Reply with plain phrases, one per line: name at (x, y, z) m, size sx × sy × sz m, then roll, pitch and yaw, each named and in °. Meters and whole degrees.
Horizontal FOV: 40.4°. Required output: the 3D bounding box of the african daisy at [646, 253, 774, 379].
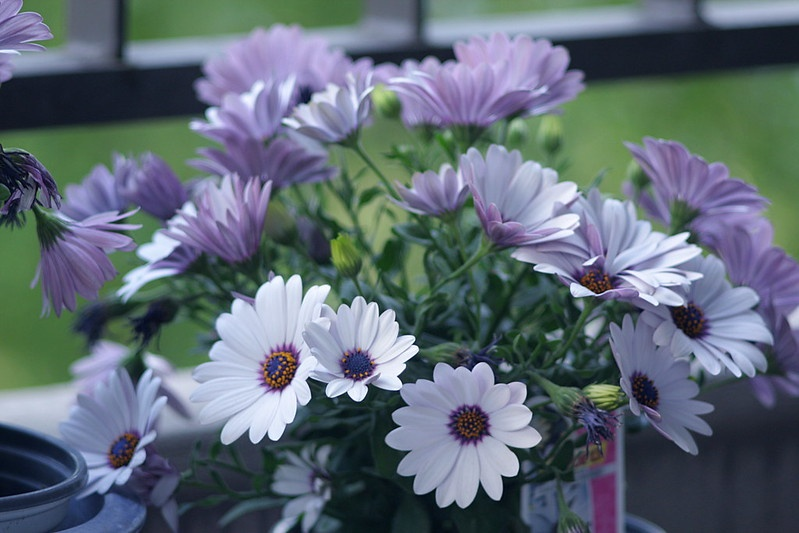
african daisy at (0.272, 0.049, 0.960) m, size 0.093 × 0.027 × 0.114 m, roll 0°, pitch 59°, yaw -28°

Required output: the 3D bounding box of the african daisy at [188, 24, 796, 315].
african daisy at (0.033, -0.156, 1.049) m, size 0.433 × 0.115 × 0.284 m, roll -11°, pitch 41°, yaw -11°

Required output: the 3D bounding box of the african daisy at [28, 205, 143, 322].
african daisy at (-0.289, -0.017, 0.993) m, size 0.097 × 0.105 × 0.123 m, roll -9°, pitch 21°, yaw -21°

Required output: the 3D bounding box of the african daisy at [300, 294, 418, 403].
african daisy at (-0.034, 0.069, 0.908) m, size 0.087 × 0.048 × 0.109 m, roll -2°, pitch 19°, yaw 7°

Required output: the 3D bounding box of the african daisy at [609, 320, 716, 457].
african daisy at (0.228, 0.103, 0.953) m, size 0.089 × 0.120 × 0.087 m, roll 5°, pitch 19°, yaw 19°

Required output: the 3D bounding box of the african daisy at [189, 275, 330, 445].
african daisy at (-0.122, 0.077, 0.933) m, size 0.107 × 0.121 × 0.080 m, roll 4°, pitch 19°, yaw 15°

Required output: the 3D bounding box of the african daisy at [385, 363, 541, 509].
african daisy at (0.063, 0.138, 0.924) m, size 0.128 × 0.050 × 0.135 m, roll 29°, pitch 35°, yaw 28°

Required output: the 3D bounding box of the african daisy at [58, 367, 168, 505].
african daisy at (-0.250, 0.156, 0.965) m, size 0.104 × 0.048 × 0.126 m, roll -8°, pitch 54°, yaw 22°
